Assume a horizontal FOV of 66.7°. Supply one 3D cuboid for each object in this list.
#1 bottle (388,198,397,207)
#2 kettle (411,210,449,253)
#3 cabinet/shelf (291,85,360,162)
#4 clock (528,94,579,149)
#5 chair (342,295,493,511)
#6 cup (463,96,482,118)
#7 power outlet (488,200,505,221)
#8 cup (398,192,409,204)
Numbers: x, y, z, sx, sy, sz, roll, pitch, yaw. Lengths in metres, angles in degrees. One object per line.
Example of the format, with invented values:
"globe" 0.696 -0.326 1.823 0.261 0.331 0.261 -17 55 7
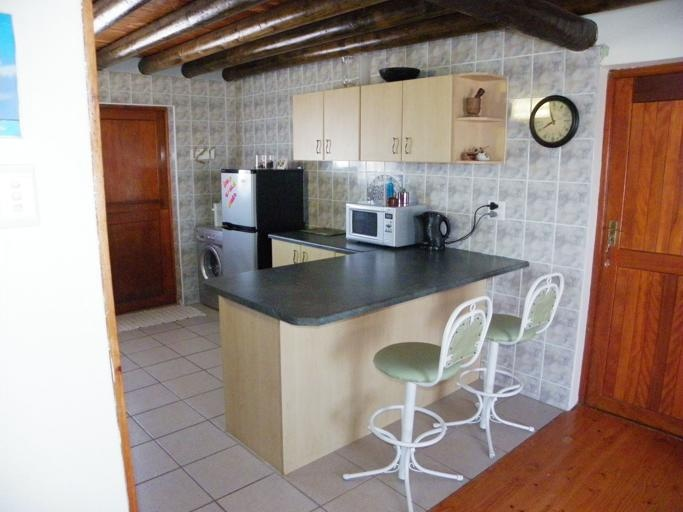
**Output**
"bottle" 0.434 -0.456 4.391 0.077 0.072 0.077 4 8 13
"kettle" 0.776 -0.219 4.312 0.196 0.297 0.264 -12 17 -41
"cabinet/shelf" -0.130 -1.179 4.655 0.284 0.527 0.744 -9 14 -40
"clock" 1.487 -0.944 3.611 0.057 0.406 0.397 -10 1 -38
"chair" 0.430 0.907 3.143 0.726 1.580 0.813 -14 23 -40
"cup" 0.961 -1.093 3.856 0.156 0.174 0.155 0 9 0
"power outlet" 1.171 -0.356 3.935 0.136 0.128 0.031 8 7 42
"cup" 0.514 -0.482 4.333 0.094 0.105 0.093 1 7 0
